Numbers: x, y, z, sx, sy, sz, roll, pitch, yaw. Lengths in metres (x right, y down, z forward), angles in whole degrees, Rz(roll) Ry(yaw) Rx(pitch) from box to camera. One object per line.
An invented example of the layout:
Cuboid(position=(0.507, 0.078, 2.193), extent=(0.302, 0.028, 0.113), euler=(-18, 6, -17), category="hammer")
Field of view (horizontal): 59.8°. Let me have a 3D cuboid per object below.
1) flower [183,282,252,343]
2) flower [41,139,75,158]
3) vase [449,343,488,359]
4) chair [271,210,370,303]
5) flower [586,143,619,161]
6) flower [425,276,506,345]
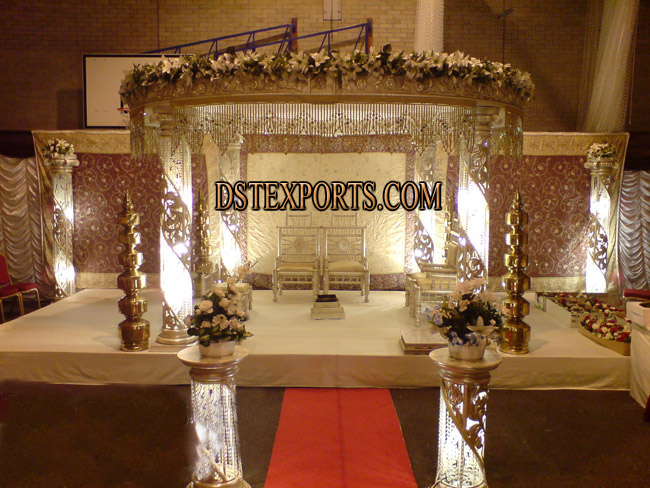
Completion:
Cuboid(position=(-0.946, 0.643, 5.102), extent=(0.523, 0.429, 0.553), euler=(0, 7, 8), category="flower")
Cuboid(position=(-4.536, -1.613, 9.699), extent=(0.360, 0.230, 0.375), euler=(3, 1, 10), category="flower")
Cuboid(position=(1.247, 0.959, 5.016), extent=(0.177, 0.082, 0.186), euler=(2, -4, -1), category="vase")
Cuboid(position=(-0.067, 0.204, 9.631), extent=(1.530, 1.440, 1.370), euler=(0, 4, 2), category="chair")
Cuboid(position=(4.443, -1.493, 9.217), extent=(0.316, 0.194, 0.359), euler=(0, 3, -9), category="flower")
Cuboid(position=(1.281, 0.574, 5.218), extent=(0.596, 0.628, 0.551), euler=(5, -5, -39), category="flower")
